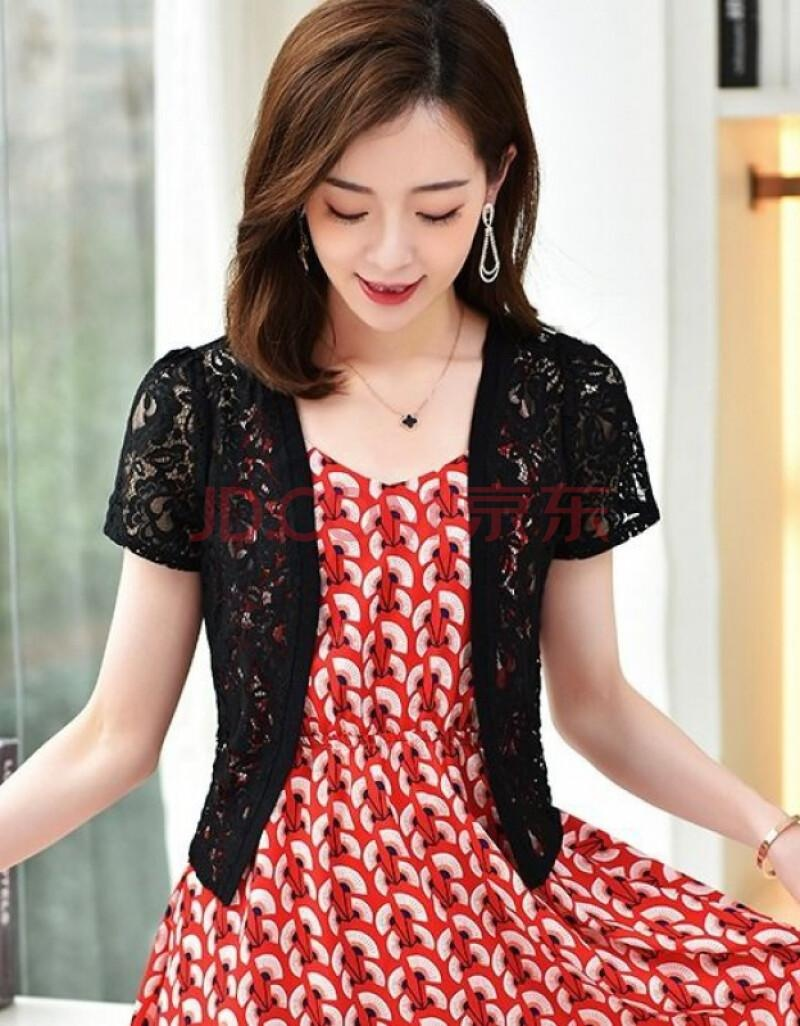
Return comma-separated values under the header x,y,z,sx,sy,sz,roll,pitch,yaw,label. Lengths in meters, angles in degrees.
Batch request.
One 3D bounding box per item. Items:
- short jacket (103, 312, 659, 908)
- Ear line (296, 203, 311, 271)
x,y,z,sx,sy,sz,roll,pitch,yaw,label
-0.010,0.072,1.056,0.547,0.472,0.266,0,6,-1,short jacket
-0.091,-0.257,1.033,0.013,0.057,0.018,-13,23,-24,Ear line
